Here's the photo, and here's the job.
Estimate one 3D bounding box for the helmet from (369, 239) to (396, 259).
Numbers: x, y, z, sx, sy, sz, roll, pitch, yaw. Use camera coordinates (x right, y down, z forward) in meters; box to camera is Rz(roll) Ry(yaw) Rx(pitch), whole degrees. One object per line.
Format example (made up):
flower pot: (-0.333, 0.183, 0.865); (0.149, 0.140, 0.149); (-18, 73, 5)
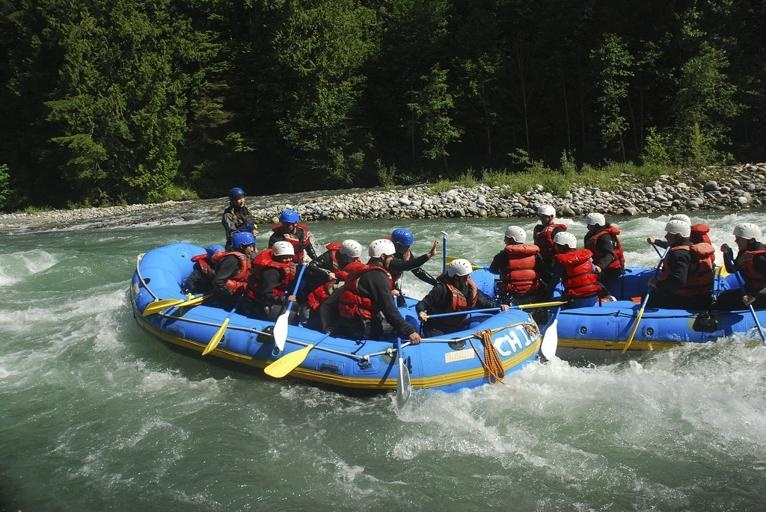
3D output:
helmet: (-0.069, -0.126, 11.538); (0.431, 0.271, 0.292); (13, -10, -15)

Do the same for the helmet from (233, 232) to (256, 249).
helmet: (-2.637, -0.323, 12.539); (0.424, 0.209, 0.297); (5, 15, 5)

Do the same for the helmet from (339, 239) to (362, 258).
helmet: (-0.496, -0.120, 11.749); (0.406, 0.282, 0.283); (-18, 43, -37)

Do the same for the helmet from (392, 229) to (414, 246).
helmet: (0.306, -0.364, 12.098); (0.307, 0.190, 0.405); (-5, 20, -45)

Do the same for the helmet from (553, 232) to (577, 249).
helmet: (3.290, -0.310, 12.103); (0.398, 0.198, 0.277); (13, 9, -13)

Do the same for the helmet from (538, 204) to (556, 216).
helmet: (3.130, -0.899, 12.794); (0.336, 0.228, 0.253); (-14, 25, -30)

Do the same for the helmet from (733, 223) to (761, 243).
helmet: (6.412, -0.451, 11.818); (0.441, 0.285, 0.308); (18, -1, 13)

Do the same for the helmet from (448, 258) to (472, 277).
helmet: (1.300, 0.191, 11.417); (0.411, 0.208, 0.285); (-1, 24, 4)

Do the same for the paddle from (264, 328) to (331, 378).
paddle: (-1.389, 1.610, 11.147); (1.328, 0.064, 0.357); (-27, 41, -33)

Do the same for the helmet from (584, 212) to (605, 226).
helmet: (3.949, -0.708, 12.560); (0.364, 0.236, 0.274); (7, 7, 37)

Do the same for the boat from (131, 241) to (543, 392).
boat: (-1.164, 1.211, 11.695); (7.170, 2.167, 1.911); (-2, 11, 17)

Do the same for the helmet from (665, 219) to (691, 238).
helmet: (5.198, -0.498, 11.904); (0.416, 0.275, 0.303); (21, 2, 18)

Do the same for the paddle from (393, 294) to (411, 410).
paddle: (0.294, 1.894, 10.909); (0.261, 1.051, 0.568); (-5, 11, 5)
